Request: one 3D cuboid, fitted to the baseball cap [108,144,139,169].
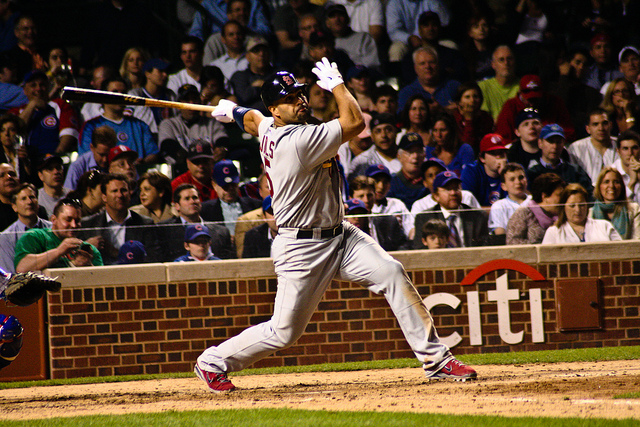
[{"bbox_3d":[-2.869,-0.872,26.518,0.376,0.217,0.268,-34,-19,32],"label":"baseball cap"}]

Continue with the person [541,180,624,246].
[{"bbox_3d":[3.562,0.007,24.792,1.093,0.618,0.548,-4,-2,7],"label":"person"}]

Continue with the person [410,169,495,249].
[{"bbox_3d":[1.849,-0.043,25.263,0.992,0.976,0.546,-1,-18,2],"label":"person"}]

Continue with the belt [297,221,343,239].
[{"bbox_3d":[0.012,0.212,22.852,0.574,0.126,0.062,-4,-2,-10],"label":"belt"}]

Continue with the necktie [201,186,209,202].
[{"bbox_3d":[-1.639,-0.303,26.093,0.102,0.208,0.308,-4,-2,-4],"label":"necktie"}]

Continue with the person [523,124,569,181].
[{"bbox_3d":[3.312,-0.926,26.641,0.740,0.584,0.314,-2,-3,-43],"label":"person"}]

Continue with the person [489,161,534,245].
[{"bbox_3d":[2.701,-0.180,25.506,0.615,0.844,1.930,-4,-2,6],"label":"person"}]

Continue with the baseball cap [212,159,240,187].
[{"bbox_3d":[-1.356,-0.602,26.232,0.379,0.393,0.211,-4,-2,-2],"label":"baseball cap"}]

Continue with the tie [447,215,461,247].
[{"bbox_3d":[1.829,0.243,24.611,0.257,0.360,0.087,1,1,-11],"label":"tie"}]

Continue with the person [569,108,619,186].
[{"bbox_3d":[4.128,-1.067,27.057,0.563,0.826,0.707,-6,-3,41],"label":"person"}]
